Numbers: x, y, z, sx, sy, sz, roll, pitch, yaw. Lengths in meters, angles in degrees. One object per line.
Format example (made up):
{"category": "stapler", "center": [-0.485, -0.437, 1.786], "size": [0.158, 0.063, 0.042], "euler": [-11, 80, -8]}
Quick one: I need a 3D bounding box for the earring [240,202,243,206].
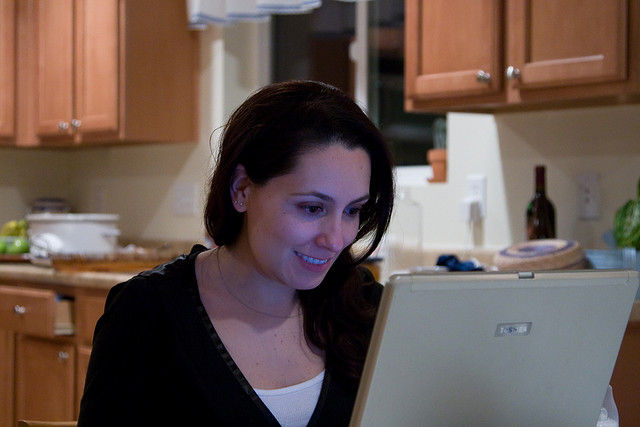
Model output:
{"category": "earring", "center": [-0.198, -0.023, 1.539], "size": [0.007, 0.006, 0.002], "euler": [0, 4, 14]}

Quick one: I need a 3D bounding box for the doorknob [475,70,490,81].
{"category": "doorknob", "center": [0.597, -0.503, 2.242], "size": [0.041, 0.030, 0.016], "euler": [0, -1, 5]}

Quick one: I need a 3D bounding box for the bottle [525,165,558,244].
{"category": "bottle", "center": [0.866, -0.040, 2.393], "size": [0.111, 0.289, 0.227], "euler": [1, 4, 20]}

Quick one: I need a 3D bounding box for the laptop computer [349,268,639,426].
{"category": "laptop computer", "center": [0.325, 0.265, 1.196], "size": [0.445, 0.334, 0.336], "euler": [3, 13, -22]}

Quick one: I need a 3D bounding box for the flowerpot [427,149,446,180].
{"category": "flowerpot", "center": [0.550, -0.227, 2.854], "size": [0.122, 0.173, 0.112], "euler": [1, 6, 19]}

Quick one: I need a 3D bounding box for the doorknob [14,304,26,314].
{"category": "doorknob", "center": [-1.413, 0.450, 2.877], "size": [0.042, 0.048, 0.016], "euler": [-5, -1, 18]}

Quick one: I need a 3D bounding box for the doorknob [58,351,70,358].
{"category": "doorknob", "center": [-1.156, 0.636, 2.761], "size": [0.033, 0.030, 0.037], "euler": [-5, -20, -18]}

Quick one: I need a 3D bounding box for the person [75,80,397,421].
{"category": "person", "center": [-0.187, 0.096, 1.563], "size": [0.757, 0.842, 0.347], "euler": [-1, 4, 3]}
